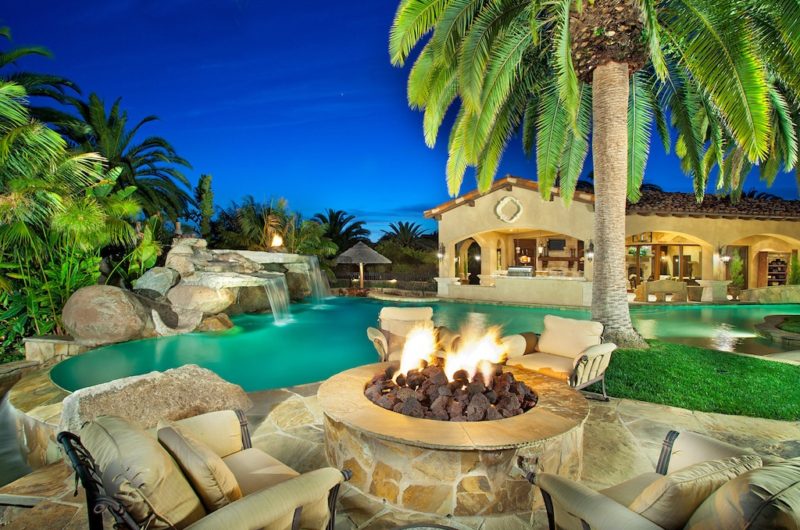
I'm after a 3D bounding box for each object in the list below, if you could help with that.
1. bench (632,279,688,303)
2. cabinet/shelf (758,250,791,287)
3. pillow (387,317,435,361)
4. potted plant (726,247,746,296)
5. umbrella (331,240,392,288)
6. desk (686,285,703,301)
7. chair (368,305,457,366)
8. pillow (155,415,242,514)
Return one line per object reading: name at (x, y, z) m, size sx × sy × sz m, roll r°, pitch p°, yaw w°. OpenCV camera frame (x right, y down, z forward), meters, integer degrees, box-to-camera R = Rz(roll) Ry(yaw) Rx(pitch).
bench at (12.305, 1.154, 18.082) m, size 2.524 × 0.968 × 0.788 m, roll -1°, pitch 2°, yaw -13°
cabinet/shelf at (20.647, 0.147, 21.272) m, size 1.645 × 1.992 × 0.569 m, roll -1°, pitch 3°, yaw 0°
pillow at (0.129, 1.467, 7.625) m, size 0.865 × 0.936 × 0.745 m, roll 0°, pitch -9°, yaw 1°
potted plant at (18.488, 0.229, 21.017) m, size 0.856 × 2.620 × 1.934 m, roll 2°, pitch 3°, yaw 42°
umbrella at (-2.338, -0.341, 22.604) m, size 3.136 × 2.678 × 3.087 m, roll -1°, pitch 3°, yaw -11°
desk at (13.932, 1.292, 18.178) m, size 0.573 × 0.728 × 0.800 m, roll 1°, pitch 2°, yaw 37°
chair at (0.124, 1.293, 7.829) m, size 1.470 × 1.227 × 1.171 m, roll -1°, pitch -6°, yaw -3°
pillow at (-1.841, 1.845, 3.460) m, size 0.233 × 0.458 × 0.657 m, roll -26°, pitch 24°, yaw -33°
